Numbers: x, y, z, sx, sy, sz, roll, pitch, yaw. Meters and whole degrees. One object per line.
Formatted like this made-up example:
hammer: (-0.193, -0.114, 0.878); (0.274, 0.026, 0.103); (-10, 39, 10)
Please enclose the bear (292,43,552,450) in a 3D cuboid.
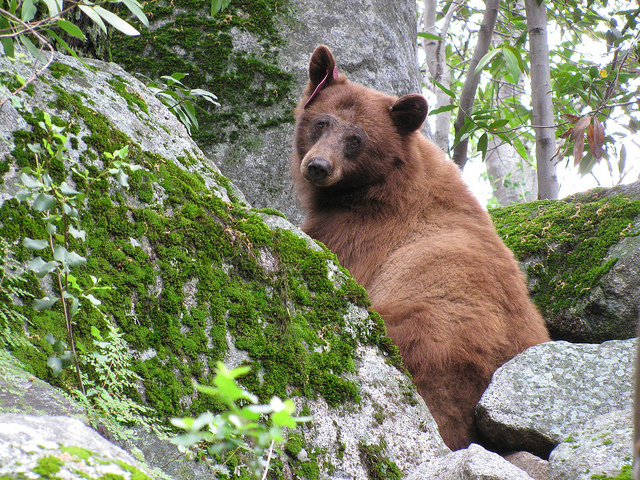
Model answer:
bear: (0.649, -0.015, 9.069); (2.410, 2.817, 1.155); (8, -6, 40)
